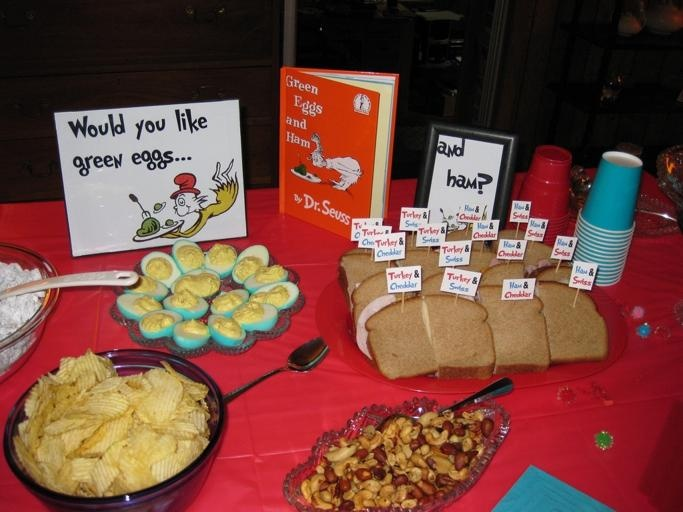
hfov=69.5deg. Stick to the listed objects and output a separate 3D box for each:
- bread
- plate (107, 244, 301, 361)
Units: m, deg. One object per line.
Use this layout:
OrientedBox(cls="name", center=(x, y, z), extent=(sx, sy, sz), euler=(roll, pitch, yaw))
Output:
OrientedBox(cls="bread", center=(0.399, 0.151, 1.995), extent=(0.967, 0.406, 0.667), euler=(-6, 25, -13))
OrientedBox(cls="plate", center=(-0.465, 0.164, 1.771), extent=(0.461, 0.095, 0.461), euler=(-2, 35, -17))
